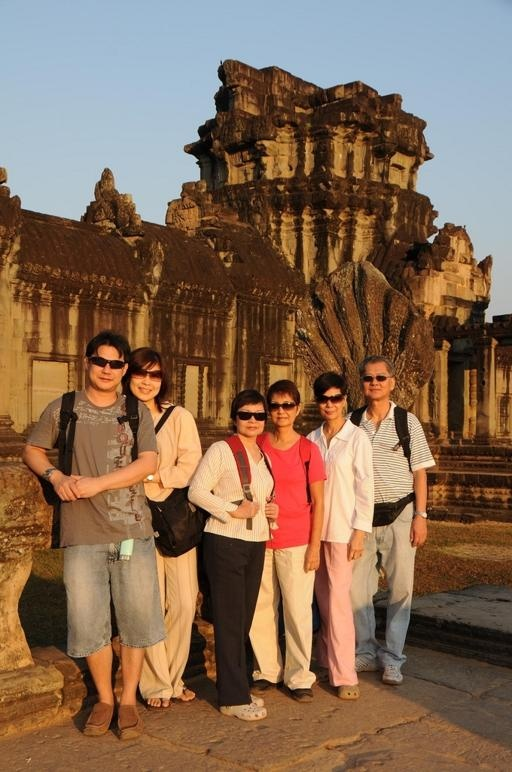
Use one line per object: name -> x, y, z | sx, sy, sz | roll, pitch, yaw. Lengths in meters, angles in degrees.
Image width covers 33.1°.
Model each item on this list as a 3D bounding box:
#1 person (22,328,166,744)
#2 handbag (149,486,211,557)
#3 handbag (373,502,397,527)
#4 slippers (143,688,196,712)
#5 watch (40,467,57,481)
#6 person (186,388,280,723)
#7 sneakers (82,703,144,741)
person -> -0.701, 0.618, 3.792 | 0.656, 1.745, 0.412 | 3, -3, -16
handbag -> -0.376, 0.644, 4.163 | 0.178, 0.323, 0.317 | -9, 3, 37
handbag -> 0.711, 0.708, 4.753 | 0.111, 0.070, 0.139 | -2, -18, 3
slippers -> -0.399, 1.530, 4.201 | 0.273, 0.116, 0.082 | 30, -23, -37
watch -> -0.890, 0.373, 3.677 | 0.031, 0.048, 0.043 | 31, -19, 25
person -> -0.075, 0.777, 4.207 | 0.435, 1.519, 0.468 | 1, -3, 24
sneakers -> -0.599, 1.432, 3.713 | 0.226, 0.121, 0.214 | 1, -3, 18
